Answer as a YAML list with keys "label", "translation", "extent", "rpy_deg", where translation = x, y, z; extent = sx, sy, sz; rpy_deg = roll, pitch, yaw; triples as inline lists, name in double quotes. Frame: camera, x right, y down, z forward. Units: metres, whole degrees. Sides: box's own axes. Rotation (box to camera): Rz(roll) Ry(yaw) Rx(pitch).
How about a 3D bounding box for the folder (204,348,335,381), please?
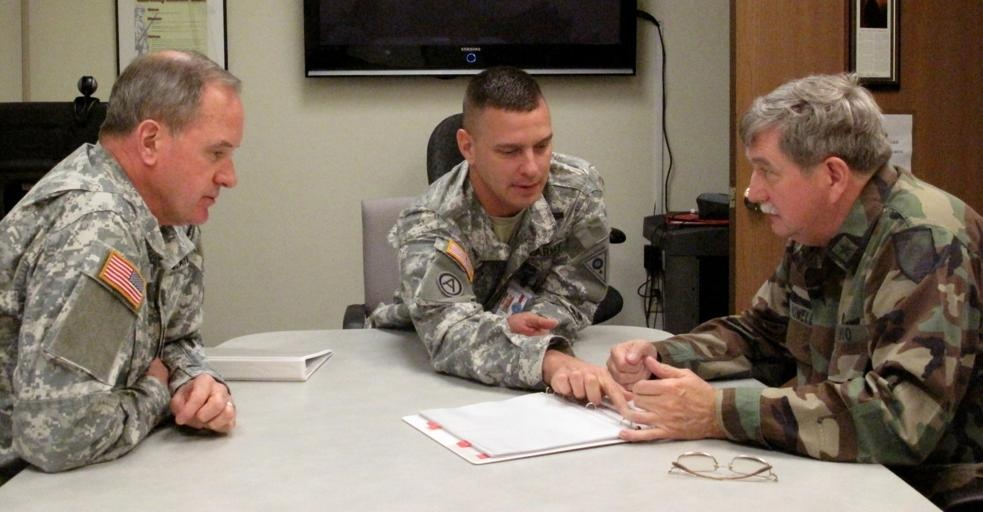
- label: "folder"
  translation: [-0.839, 0.401, 3.039]
  extent: [0.454, 0.072, 0.436]
  rpy_deg: [-3, 7, -7]

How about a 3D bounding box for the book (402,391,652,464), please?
- label: "book"
  translation: [0.126, 0.566, 2.561]
  extent: [0.418, 0.076, 0.291]
  rpy_deg: [1, 8, -28]
